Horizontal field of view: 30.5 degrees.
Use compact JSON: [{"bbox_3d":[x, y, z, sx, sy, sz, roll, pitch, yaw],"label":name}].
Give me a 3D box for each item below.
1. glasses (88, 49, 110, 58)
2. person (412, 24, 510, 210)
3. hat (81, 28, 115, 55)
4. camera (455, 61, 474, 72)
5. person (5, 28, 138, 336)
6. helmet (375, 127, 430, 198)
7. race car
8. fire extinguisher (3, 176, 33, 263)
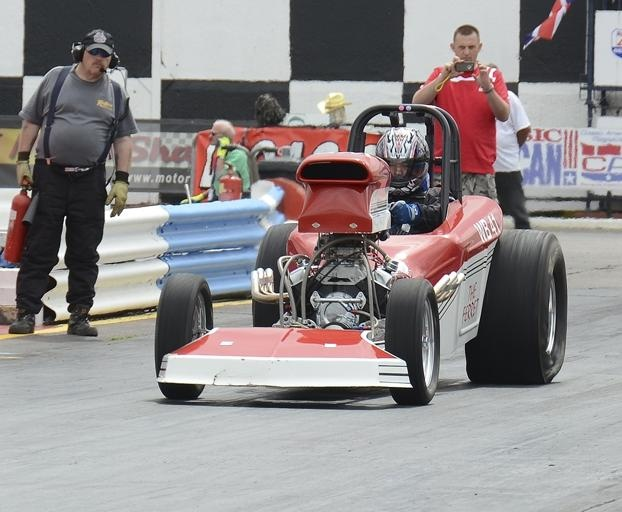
[{"bbox_3d":[-1.453,-1.390,7.827,0.143,0.064,0.061,-2,5,-16],"label":"glasses"},{"bbox_3d":[1.104,-0.837,8.482,0.797,1.655,0.527,2,2,30],"label":"person"},{"bbox_3d":[-1.465,-1.490,7.925,0.172,0.114,0.224,9,0,-9],"label":"hat"},{"bbox_3d":[1.080,-1.344,8.098,0.147,0.071,0.066,4,7,42],"label":"camera"},{"bbox_3d":[-1.689,-0.488,8.047,0.919,2.157,0.389,-1,5,-7],"label":"person"},{"bbox_3d":[0.528,-0.512,6.354,0.337,0.317,0.393,1,10,7],"label":"helmet"},{"bbox_3d":[0.366,0.076,6.099,1.526,1.183,2.260,-2,-2,21],"label":"race car"},{"bbox_3d":[-2.058,-0.230,8.020,0.196,0.583,0.215,-2,5,-14],"label":"fire extinguisher"}]
